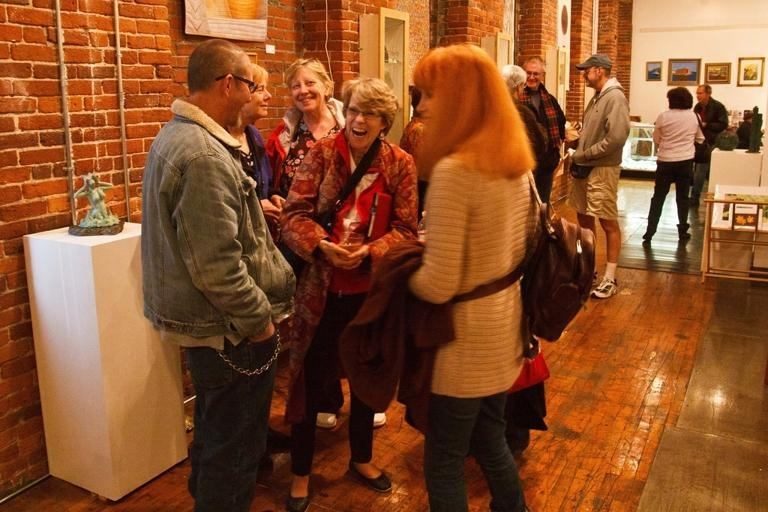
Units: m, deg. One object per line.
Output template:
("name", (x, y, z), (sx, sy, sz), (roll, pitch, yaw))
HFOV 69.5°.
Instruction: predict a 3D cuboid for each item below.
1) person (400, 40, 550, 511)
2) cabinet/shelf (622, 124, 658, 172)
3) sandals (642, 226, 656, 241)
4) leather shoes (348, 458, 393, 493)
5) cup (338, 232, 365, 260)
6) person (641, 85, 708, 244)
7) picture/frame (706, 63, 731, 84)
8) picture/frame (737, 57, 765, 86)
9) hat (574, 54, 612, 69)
("person", (0.377, 0.185, 2.349), (0.533, 2.069, 0.379), (0, 13, 3))
("cabinet/shelf", (6.172, -2.533, 13.242), (0.973, 1.119, 0.972), (5, 13, 21))
("sandals", (3.807, -0.312, 7.984), (0.149, 0.217, 0.054), (12, 5, 7))
("leather shoes", (-0.079, 1.332, 3.345), (0.253, 0.088, 0.125), (12, 15, 30))
("cup", (-0.165, -0.063, 2.897), (0.128, 0.115, 0.123), (1, 2, 0))
("person", (4.247, -1.358, 8.111), (0.622, 2.179, 1.238), (5, 15, 25))
("picture/frame", (8.898, -4.859, 14.714), (0.653, 0.570, 0.047), (3, 10, 34))
("picture/frame", (9.526, -4.782, 14.362), (0.772, 0.886, 0.102), (9, 7, 31))
("hat", (2.358, -2.152, 6.234), (0.321, 0.119, 0.204), (9, 28, 29))
